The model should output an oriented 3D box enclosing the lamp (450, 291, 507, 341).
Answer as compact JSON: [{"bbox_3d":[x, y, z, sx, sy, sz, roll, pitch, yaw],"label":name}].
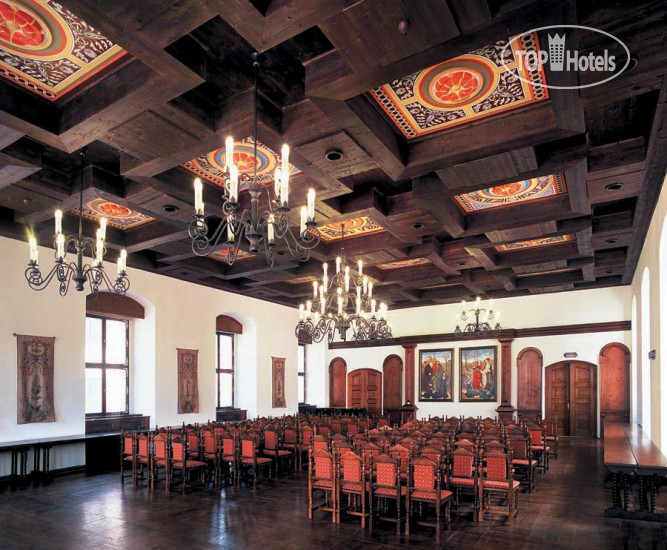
[{"bbox_3d":[5.000,1.564,18.889,1.955,1.650,1.710,-11,-20,40],"label":"lamp"}]

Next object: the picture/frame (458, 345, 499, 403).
[{"bbox_3d":[5.303,3.683,19.483,2.018,2.673,0.190,-7,-12,38],"label":"picture/frame"}]

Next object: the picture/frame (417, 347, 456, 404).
[{"bbox_3d":[3.877,3.863,20.383,1.375,2.025,0.361,-6,-8,44],"label":"picture/frame"}]
